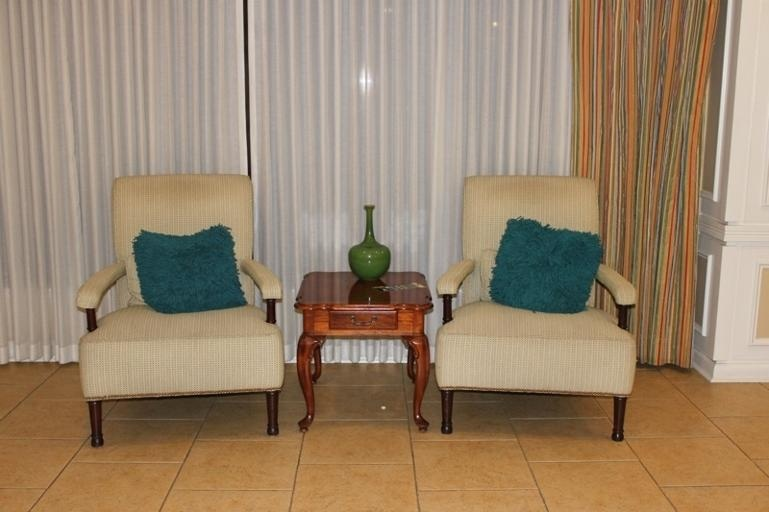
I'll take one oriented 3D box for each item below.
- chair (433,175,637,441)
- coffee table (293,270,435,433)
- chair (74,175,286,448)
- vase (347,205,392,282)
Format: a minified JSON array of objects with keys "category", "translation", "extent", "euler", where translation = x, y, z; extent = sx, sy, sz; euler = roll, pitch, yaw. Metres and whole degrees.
[{"category":"chair","translation":[1.025,0.225,4.987],"extent":[1.736,2.056,1.711],"euler":[1,6,6]},{"category":"coffee table","translation":[-0.122,0.624,4.789],"extent":[1.073,0.860,1.028],"euler":[0,7,1]},{"category":"chair","translation":[-1.372,0.210,4.901],"extent":[1.720,2.107,1.749],"euler":[-1,8,-9]},{"category":"vase","translation":[-0.109,-0.094,4.751],"extent":[0.281,0.539,0.231],"euler":[-6,10,-20]}]
